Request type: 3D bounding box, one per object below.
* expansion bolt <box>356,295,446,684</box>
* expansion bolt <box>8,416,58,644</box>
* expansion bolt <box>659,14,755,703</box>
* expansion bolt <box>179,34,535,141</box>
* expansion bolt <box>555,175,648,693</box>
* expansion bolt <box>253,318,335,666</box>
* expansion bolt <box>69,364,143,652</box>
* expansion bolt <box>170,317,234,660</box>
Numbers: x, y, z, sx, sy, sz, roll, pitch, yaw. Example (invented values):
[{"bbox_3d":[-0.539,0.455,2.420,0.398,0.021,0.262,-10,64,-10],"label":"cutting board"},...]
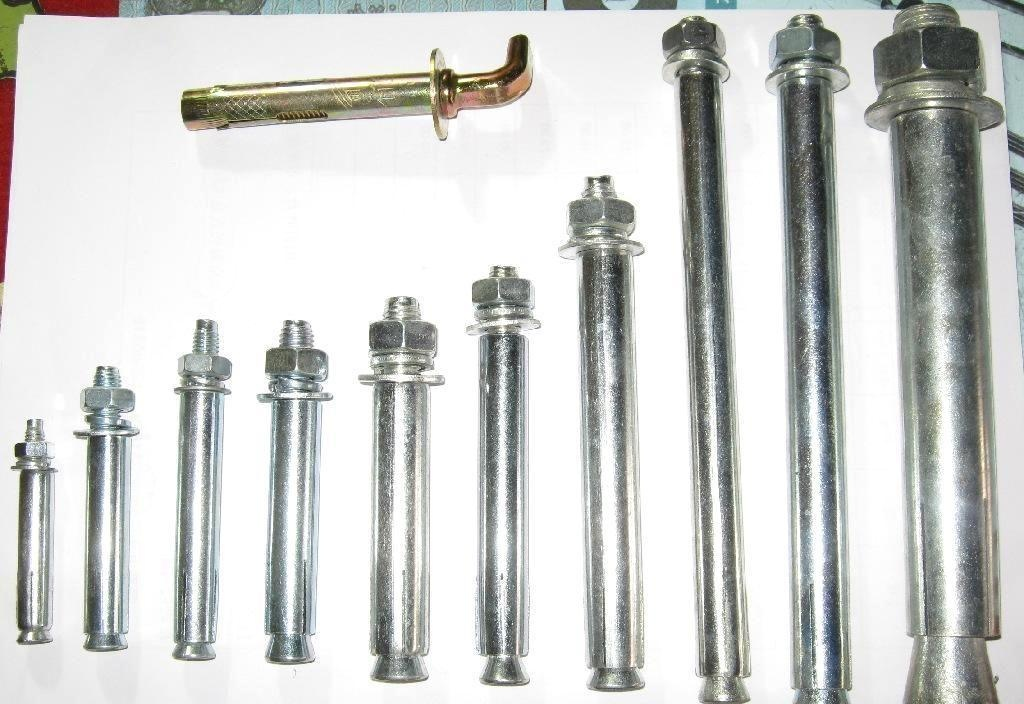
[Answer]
[{"bbox_3d":[-0.190,0.233,2.566,0.142,0.657,0.132,1,-14,-17],"label":"expansion bolt"},{"bbox_3d":[-0.836,0.331,2.593,0.065,0.343,0.077,1,-14,-16],"label":"expansion bolt"},{"bbox_3d":[0.347,0.002,2.540,0.136,1.169,0.181,-4,-13,3],"label":"expansion bolt"},{"bbox_3d":[-0.269,-0.451,2.723,0.712,0.193,0.225,-1,-24,4],"label":"expansion bolt"},{"bbox_3d":[0.177,0.149,2.530,0.146,0.830,0.135,-4,-13,3],"label":"expansion bolt"},{"bbox_3d":[-0.374,0.263,2.575,0.122,0.537,0.113,0,-14,-13],"label":"expansion bolt"},{"bbox_3d":[-0.710,0.291,2.598,0.105,0.449,0.111,0,-14,-13],"label":"expansion bolt"},{"bbox_3d":[-0.536,0.251,2.576,0.096,0.493,0.090,0,-14,-13],"label":"expansion bolt"}]
